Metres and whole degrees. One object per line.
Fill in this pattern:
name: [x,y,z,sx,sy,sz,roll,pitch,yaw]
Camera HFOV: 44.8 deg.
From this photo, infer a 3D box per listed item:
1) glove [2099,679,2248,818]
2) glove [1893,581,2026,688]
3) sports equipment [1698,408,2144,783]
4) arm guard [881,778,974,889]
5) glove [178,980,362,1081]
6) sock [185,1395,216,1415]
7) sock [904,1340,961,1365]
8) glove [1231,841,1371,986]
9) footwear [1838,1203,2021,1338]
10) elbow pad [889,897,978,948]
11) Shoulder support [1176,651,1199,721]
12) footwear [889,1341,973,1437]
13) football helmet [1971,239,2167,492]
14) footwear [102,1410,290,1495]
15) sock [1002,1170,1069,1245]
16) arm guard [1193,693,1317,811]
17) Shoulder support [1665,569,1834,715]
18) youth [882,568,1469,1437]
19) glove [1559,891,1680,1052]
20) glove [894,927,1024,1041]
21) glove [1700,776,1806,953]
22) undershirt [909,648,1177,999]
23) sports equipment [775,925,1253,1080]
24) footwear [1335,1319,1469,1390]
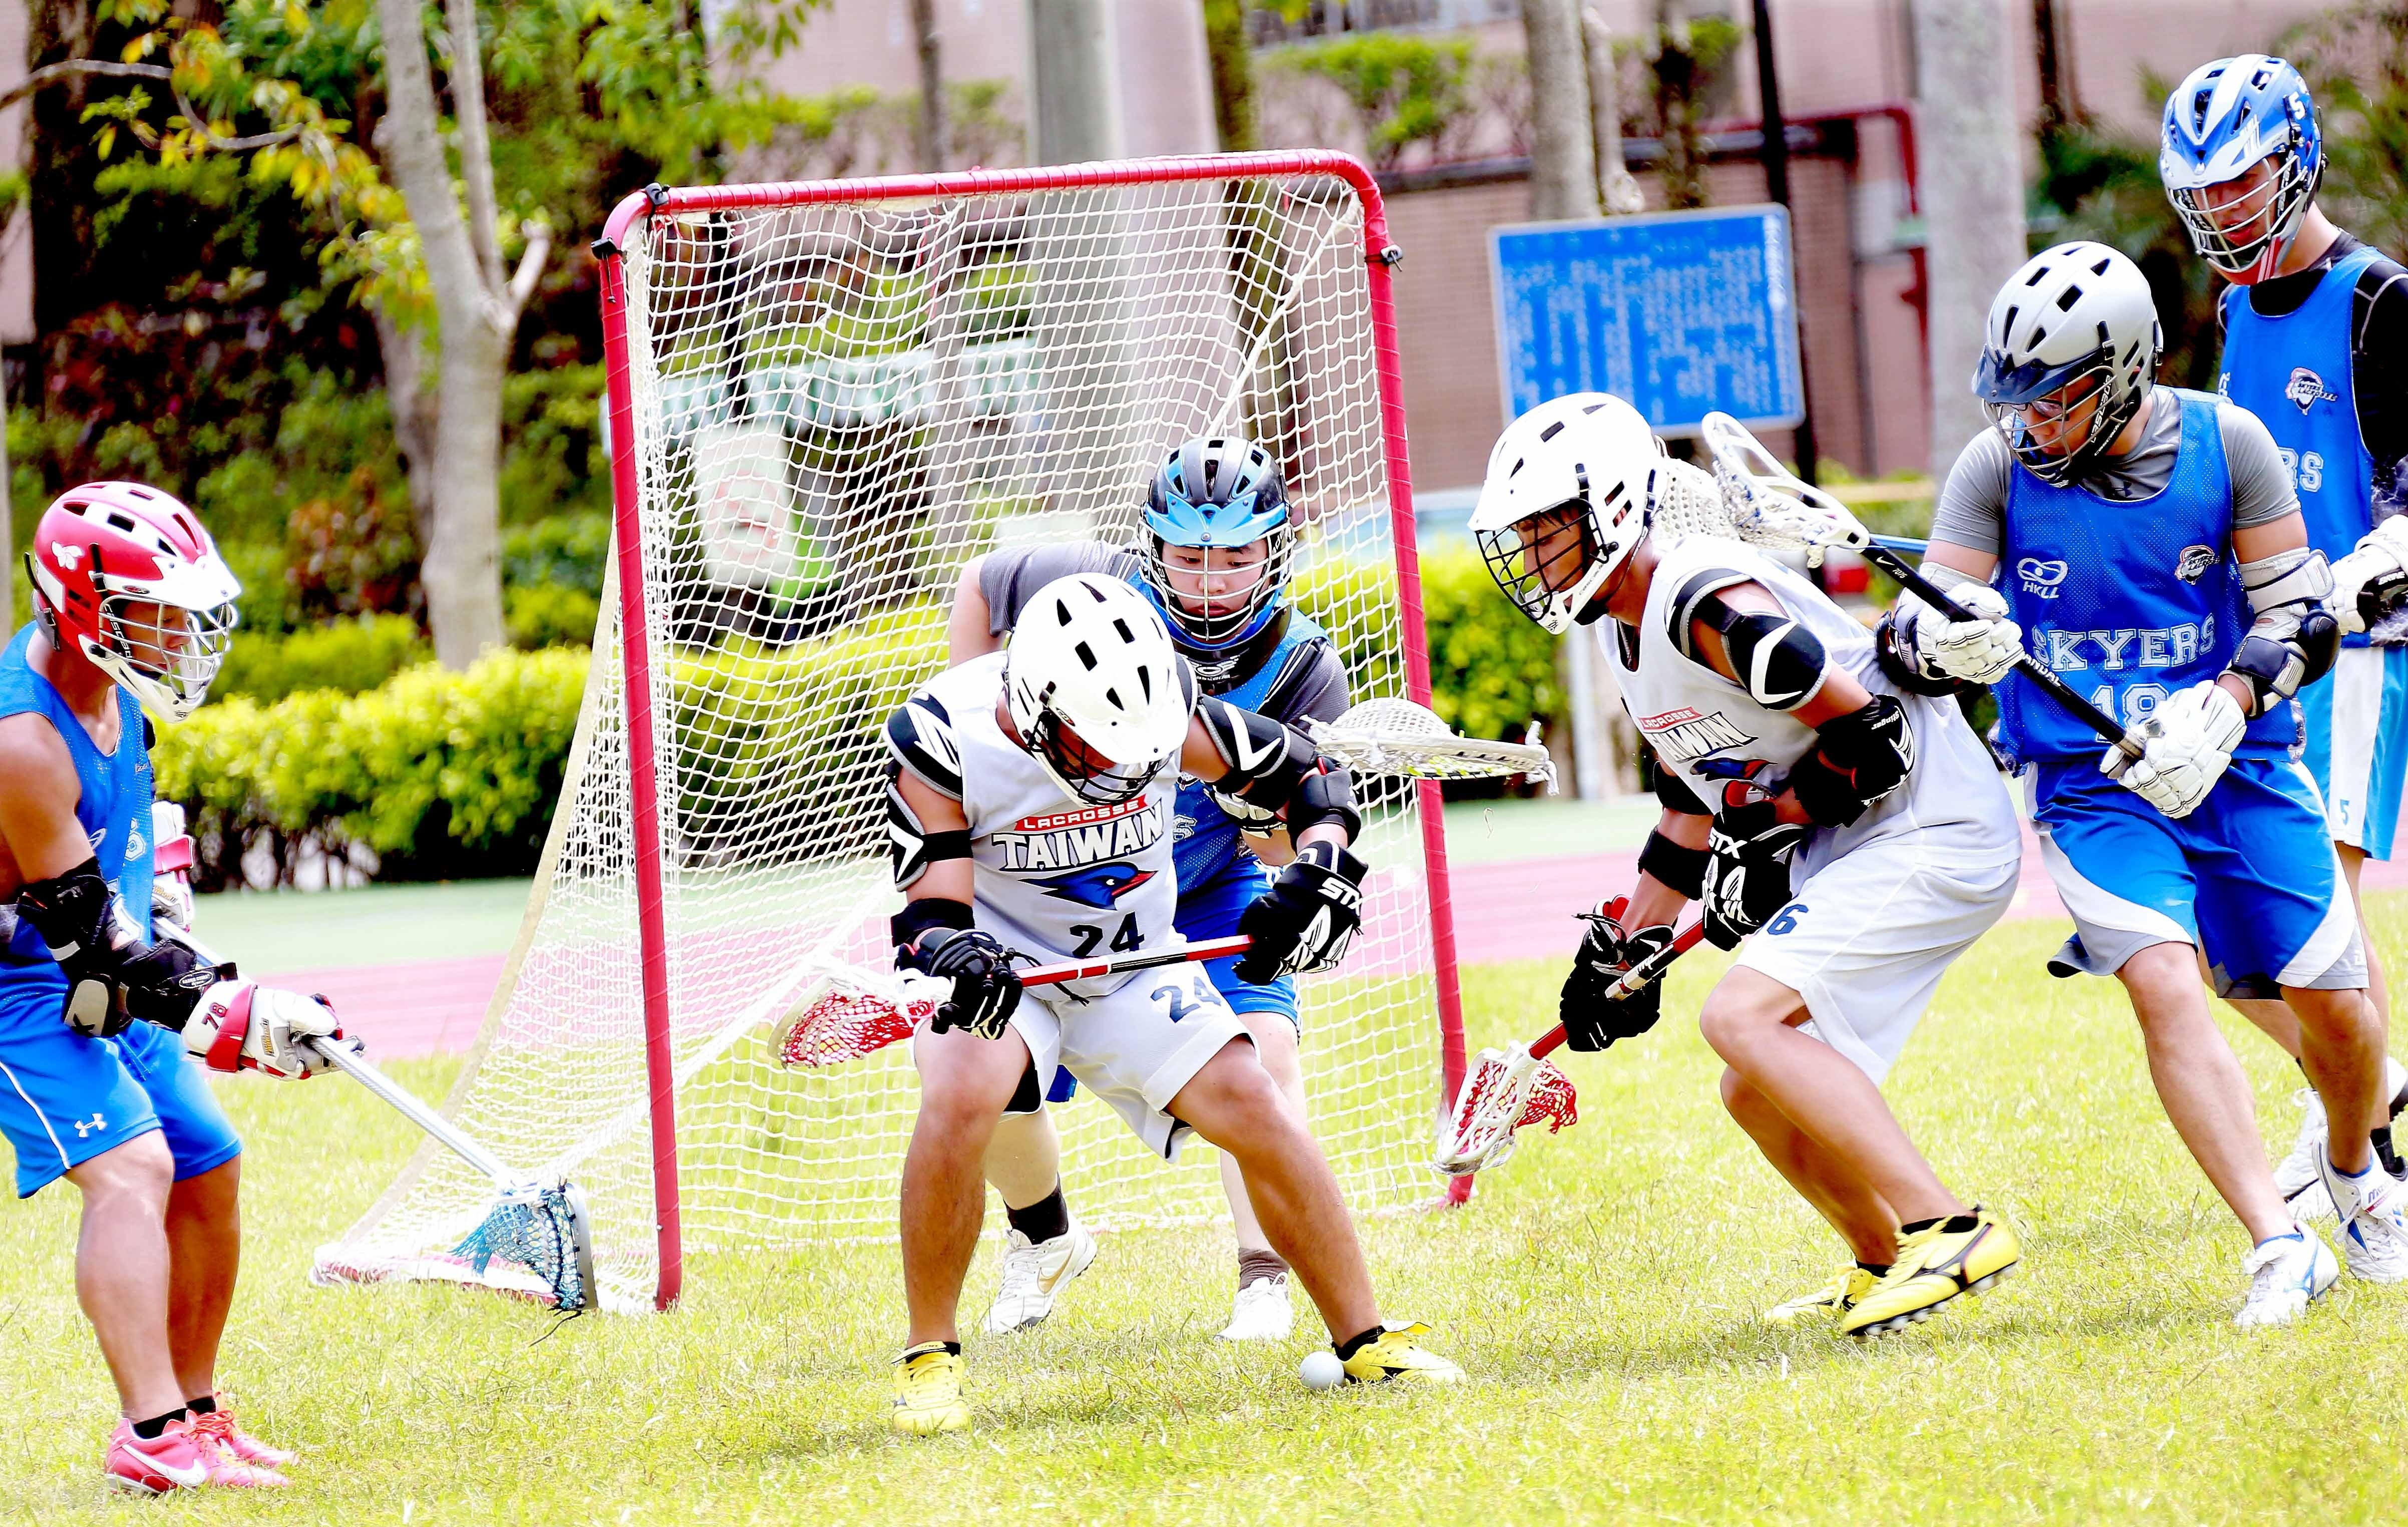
glove: [2.708,-0.016,8.122,0.408,0.299,0.159,-44,-8,3]
glove: [2.091,-0.351,8.061,0.326,0.252,0.162,19,9,38]
sports equipment: [2.053,-0.624,8.251,1.802,0.599,0.309,39,74,25]
arm guard: [-0.824,0.205,8.120,0.308,0.307,0.233,1,-6,-15]
glove: [-2.704,0.775,8.350,0.384,0.183,0.271,15,16,-28]
sock: [-2.858,1.839,8.306,0.059,0.045,0.056,-27,-10,7]
sock: [-0.768,1.663,8.189,0.125,0.031,0.072,-4,0,-8]
glove: [0.288,0.424,8.292,0.415,0.310,0.203,-40,3,9]
footwear: [2.011,1.437,8.161,0.411,0.204,0.153,-30,23,6]
elbow pad: [-0.753,0.440,8.056,0.184,0.091,0.147,-7,27,-9]
Shoulder support: [-0.054,-0.219,8.135,0.054,0.148,0.109,-11,31,3]
footwear: [-0.780,1.768,8.146,0.160,0.149,0.305,-5,38,-1]
football helmet: [2.425,-1.116,8.218,0.487,0.673,0.234,-6,9,-13]
footwear: [-2.726,1.936,8.137,0.593,0.250,0.209,6,-4,-6]
sock: [-0.505,1.399,9.045,0.147,0.229,0.231,-16,-13,7]
arm guard: [0.147,-0.008,8.266,0.317,0.317,0.155,19,58,5]
Shoulder support: [1.463,-0.338,7.909,0.427,0.196,0.325,27,23,-28]
youth: [-0.251,0.640,8.202,1.406,2.331,0.545,-4,9,0]
glove: [1.216,0.596,8.497,0.455,0.284,0.234,-51,7,-7]
glove: [-0.657,0.594,8.002,0.185,0.253,0.332,-20,29,-38]
glove: [1.520,0.290,8.268,0.299,0.467,0.194,31,29,35]
undershirt: [-0.463,0.170,8.085,0.890,0.847,0.529,-8,3,-43]
sports equipment: [-0.645,0.742,8.518,1.537,0.227,0.529,-12,3,4]
footwear: [0.534,1.670,8.200,0.310,0.163,0.161,2,-1,8]
